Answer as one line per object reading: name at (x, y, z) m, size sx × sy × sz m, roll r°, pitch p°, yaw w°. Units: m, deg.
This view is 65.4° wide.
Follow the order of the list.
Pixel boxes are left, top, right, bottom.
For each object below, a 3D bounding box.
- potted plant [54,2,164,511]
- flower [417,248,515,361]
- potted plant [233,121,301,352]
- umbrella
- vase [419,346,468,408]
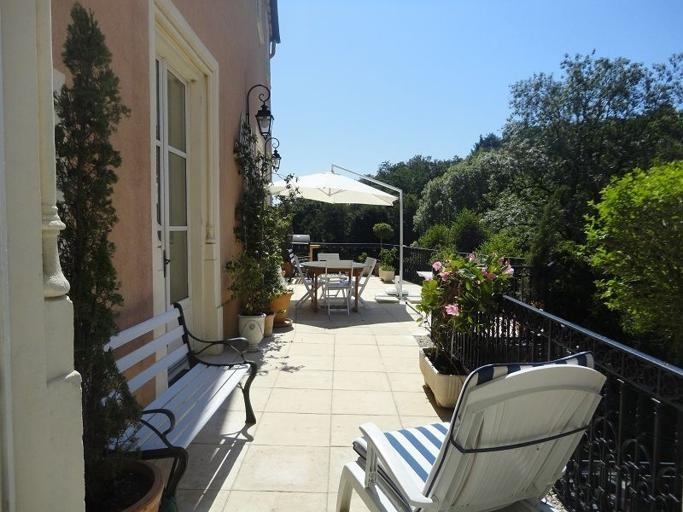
potted plant at (-1.114, 0.022, 2.472) m, size 0.338 × 2.305 × 0.338 m, roll -4°, pitch 7°, yaw -29°
flower at (0.991, 0.417, 4.342) m, size 0.737 × 0.877 × 0.537 m, roll 2°, pitch 7°, yaw 20°
potted plant at (-0.978, -0.356, 6.600) m, size 0.715 × 2.712 × 1.536 m, roll -1°, pitch 7°, yaw -6°
umbrella at (-0.159, -0.784, 8.928) m, size 2.221 × 2.173 × 1.995 m, roll 1°, pitch 8°, yaw -1°
vase at (0.901, 0.822, 4.719) m, size 0.356 × 0.339 × 0.971 m, roll 5°, pitch 34°, yaw 4°
